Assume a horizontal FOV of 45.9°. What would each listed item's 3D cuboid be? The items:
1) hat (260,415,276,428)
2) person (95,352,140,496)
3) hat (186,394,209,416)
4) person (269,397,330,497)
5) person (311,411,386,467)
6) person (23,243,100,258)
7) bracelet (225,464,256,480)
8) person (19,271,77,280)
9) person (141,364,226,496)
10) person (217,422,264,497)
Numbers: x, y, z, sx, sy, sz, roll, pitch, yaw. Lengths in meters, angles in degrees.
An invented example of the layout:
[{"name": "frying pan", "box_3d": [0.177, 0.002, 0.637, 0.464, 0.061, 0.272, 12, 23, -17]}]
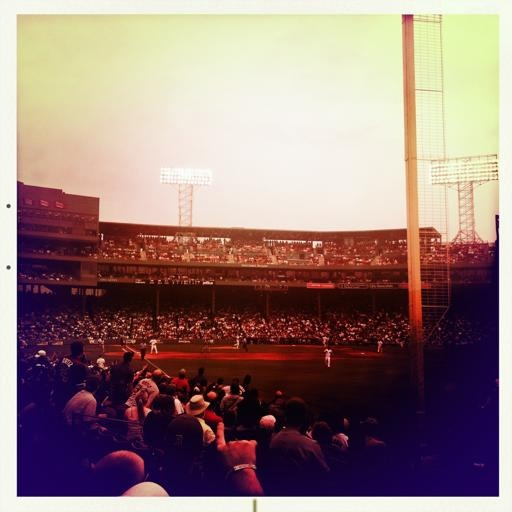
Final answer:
[{"name": "hat", "box_3d": [0.181, 2.388, 8.735, 0.178, 0.182, 0.140, -6, -21, 38]}, {"name": "person", "box_3d": [-1.975, 2.459, 8.604, 0.661, 1.789, 1.548, 0, -2, -15]}, {"name": "hat", "box_3d": [-0.865, 2.171, 8.779, 0.244, 0.118, 0.289, 10, 21, 31]}, {"name": "person", "box_3d": [0.544, 2.589, 8.339, 0.893, 1.497, 0.698, 7, 29, 13]}, {"name": "person", "box_3d": [1.494, 2.994, 9.692, 0.987, 0.578, 1.013, 10, -15, -33]}, {"name": "person", "box_3d": [-8.605, -0.228, 26.151, 3.574, 0.614, 0.302, -6, 2, -21]}, {"name": "bracelet", "box_3d": [-0.195, 2.689, 7.578, 0.230, 0.079, 0.196, -2, 3, 16]}, {"name": "person", "box_3d": [-8.786, 0.855, 25.218, 0.895, 0.387, 2.853, -2, -2, 28]}, {"name": "person", "box_3d": [-1.026, 2.502, 8.450, 1.027, 1.927, 0.823, 6, 23, 24]}, {"name": "person", "box_3d": [-0.229, 2.703, 7.854, 0.537, 1.033, 0.656, -1, -2, -1]}]
